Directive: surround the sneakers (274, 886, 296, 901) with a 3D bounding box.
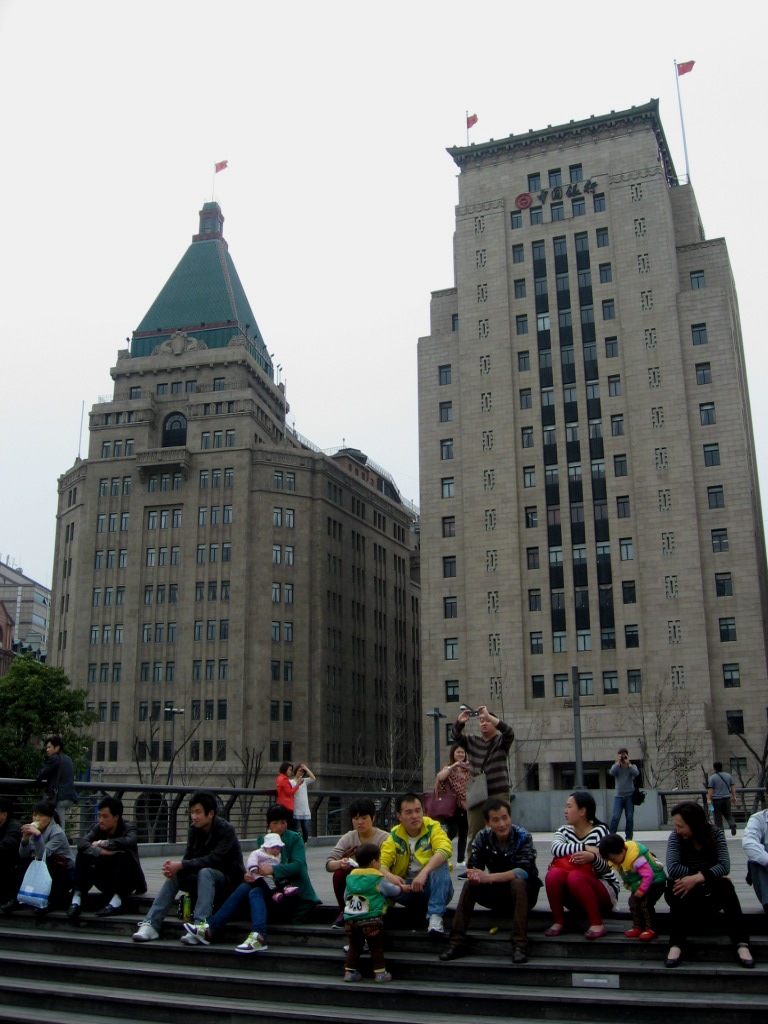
[{"bbox_3d":[-0.981,3.695,11.106,0.215,0.065,0.156,-31,26,-31],"label":"sneakers"}]

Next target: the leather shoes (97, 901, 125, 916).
[{"bbox_3d":[-2.871,4.132,11.964,0.182,0.148,0.305,-4,-14,8],"label":"leather shoes"}]

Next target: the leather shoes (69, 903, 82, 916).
[{"bbox_3d":[-3.208,4.124,11.876,0.119,0.113,0.289,6,-17,-5],"label":"leather shoes"}]

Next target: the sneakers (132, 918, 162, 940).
[{"bbox_3d":[-2.274,4.015,10.945,0.125,0.125,0.275,-5,-39,11],"label":"sneakers"}]

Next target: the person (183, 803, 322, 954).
[{"bbox_3d":[-1.235,3.503,11.037,0.869,1.256,1.055,-7,-16,17],"label":"person"}]

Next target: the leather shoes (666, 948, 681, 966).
[{"bbox_3d":[2.342,3.645,9.380,0.088,0.139,0.167,-13,-19,34],"label":"leather shoes"}]

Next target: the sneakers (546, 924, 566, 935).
[{"bbox_3d":[1.509,3.727,10.219,0.139,0.090,0.204,-6,-15,14],"label":"sneakers"}]

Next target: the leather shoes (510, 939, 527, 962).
[{"bbox_3d":[1.136,3.746,9.717,0.122,0.134,0.268,-3,-14,2],"label":"leather shoes"}]

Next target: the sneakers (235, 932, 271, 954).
[{"bbox_3d":[-1.175,3.925,10.430,0.219,0.173,0.384,-12,-17,33],"label":"sneakers"}]

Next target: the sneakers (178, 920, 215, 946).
[{"bbox_3d":[-1.760,3.957,10.723,0.269,0.190,0.177,0,-15,-9],"label":"sneakers"}]

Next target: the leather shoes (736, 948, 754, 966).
[{"bbox_3d":[2.933,3.632,9.358,0.124,0.143,0.269,-6,-15,14],"label":"leather shoes"}]

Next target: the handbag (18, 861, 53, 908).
[{"bbox_3d":[-3.713,3.967,12.167,0.357,0.507,0.398,2,-16,-15],"label":"handbag"}]

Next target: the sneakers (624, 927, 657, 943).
[{"bbox_3d":[2.194,3.648,9.859,0.272,0.095,0.260,-4,-14,10],"label":"sneakers"}]
